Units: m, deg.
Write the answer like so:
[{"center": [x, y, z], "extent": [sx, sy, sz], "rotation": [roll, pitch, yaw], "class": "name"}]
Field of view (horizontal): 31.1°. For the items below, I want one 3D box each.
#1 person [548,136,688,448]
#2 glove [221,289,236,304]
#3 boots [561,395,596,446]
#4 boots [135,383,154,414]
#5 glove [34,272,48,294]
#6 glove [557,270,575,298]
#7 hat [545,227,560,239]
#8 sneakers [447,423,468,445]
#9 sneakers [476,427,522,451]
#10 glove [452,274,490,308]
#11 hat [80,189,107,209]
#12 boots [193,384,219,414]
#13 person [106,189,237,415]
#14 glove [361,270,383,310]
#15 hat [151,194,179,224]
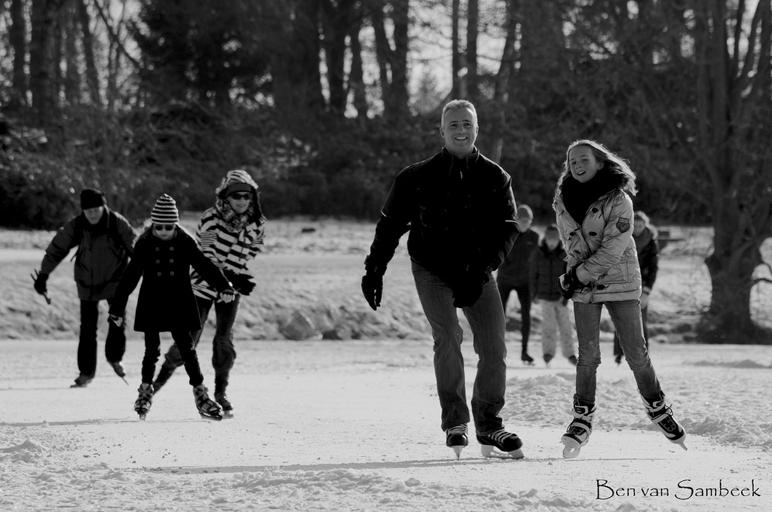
[{"center": [2.367, 0.417, 14.703], "extent": [1.194, 3.234, 0.864], "rotation": [0, 7, 6], "class": "person"}, {"center": [-1.800, 0.466, 15.680], "extent": [0.172, 0.181, 0.227], "rotation": [-2, 7, -8], "class": "glove"}, {"center": [2.026, 1.746, 14.632], "extent": [0.223, 0.458, 0.644], "rotation": [10, 8, 24], "class": "boots"}, {"center": [-2.732, 1.617, 15.652], "extent": [0.227, 0.391, 0.305], "rotation": [-2, 7, -10], "class": "boots"}, {"center": [-4.257, 0.341, 17.233], "extent": [0.216, 0.268, 0.274], "rotation": [2, -13, -9], "class": "glove"}, {"center": [1.920, 0.308, 14.716], "extent": [0.131, 0.314, 0.133], "rotation": [0, -13, 2], "class": "glove"}, {"center": [2.372, -0.327, 19.917], "extent": [0.170, 0.220, 0.210], "rotation": [-3, -3, 4], "class": "hat"}, {"center": [0.729, 1.867, 14.495], "extent": [0.211, 0.247, 0.285], "rotation": [-1, 7, -3], "class": "sneakers"}, {"center": [1.176, 1.905, 14.487], "extent": [0.438, 0.189, 0.208], "rotation": [1, 14, 24], "class": "sneakers"}, {"center": [0.865, 0.349, 14.450], "extent": [0.279, 0.380, 0.120], "rotation": [33, 14, -4], "class": "glove"}, {"center": [-3.667, -0.703, 17.263], "extent": [0.249, 0.188, 0.249], "rotation": [0, -1, -16], "class": "hat"}, {"center": [-2.004, 1.621, 15.546], "extent": [0.239, 0.365, 0.325], "rotation": [-6, 9, -34], "class": "boots"}, {"center": [-2.429, 0.572, 15.679], "extent": [1.390, 2.486, 0.811], "rotation": [-1, 7, -4], "class": "person"}, {"center": [-0.165, 0.350, 14.662], "extent": [0.258, 0.352, 0.106], "rotation": [-3, -2, -19], "class": "glove"}, {"center": [-2.490, -0.544, 15.771], "extent": [0.344, 0.387, 0.344], "rotation": [0, -2, 8], "class": "hat"}]
